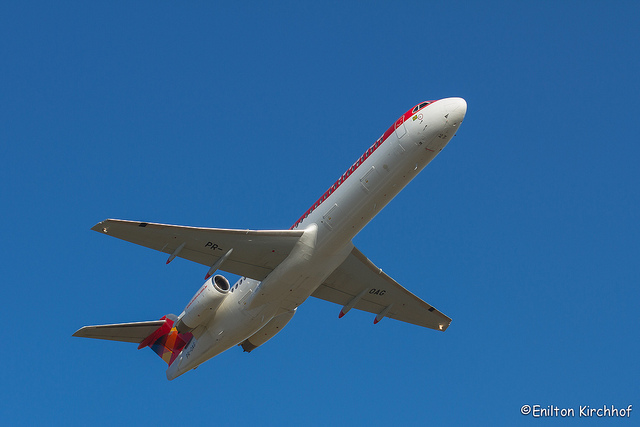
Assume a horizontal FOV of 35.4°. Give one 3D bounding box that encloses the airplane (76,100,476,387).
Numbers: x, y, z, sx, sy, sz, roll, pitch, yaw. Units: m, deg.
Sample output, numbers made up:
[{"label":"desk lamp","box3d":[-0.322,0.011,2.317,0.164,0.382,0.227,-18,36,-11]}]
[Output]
[{"label":"airplane","box3d":[-1.252,1.754,44.219,13.153,3.790,14.876,29,-61,-38]}]
